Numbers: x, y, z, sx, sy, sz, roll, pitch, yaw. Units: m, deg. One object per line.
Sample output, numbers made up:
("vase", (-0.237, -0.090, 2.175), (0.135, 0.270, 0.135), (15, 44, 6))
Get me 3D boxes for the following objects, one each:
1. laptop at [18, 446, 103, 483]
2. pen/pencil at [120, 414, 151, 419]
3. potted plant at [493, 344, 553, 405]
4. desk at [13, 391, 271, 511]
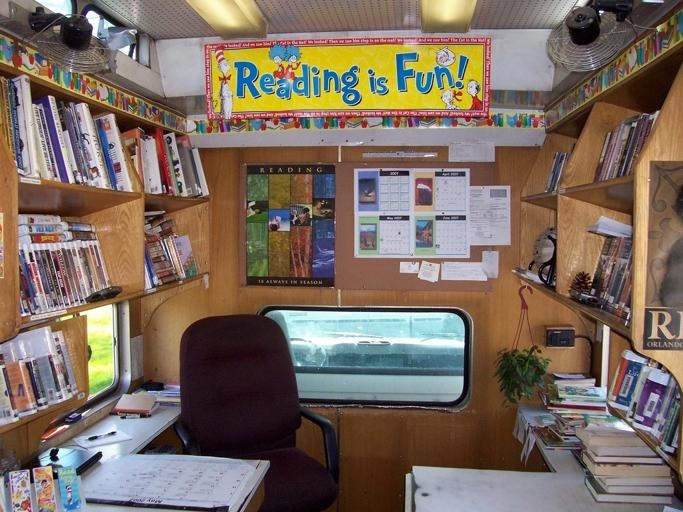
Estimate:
("laptop", (-1.360, 0.991, 2.402), (0.253, 0.055, 0.248), (-2, 2, -10))
("pen/pencil", (-1.269, 0.970, 2.959), (0.092, 0.021, 0.017), (1, -6, -7))
("potted plant", (1.153, 0.716, 3.185), (0.374, 0.276, 0.386), (1, -2, -14))
("desk", (-1.202, 0.940, 2.590), (0.918, 0.502, 0.472), (-2, -12, 5))
